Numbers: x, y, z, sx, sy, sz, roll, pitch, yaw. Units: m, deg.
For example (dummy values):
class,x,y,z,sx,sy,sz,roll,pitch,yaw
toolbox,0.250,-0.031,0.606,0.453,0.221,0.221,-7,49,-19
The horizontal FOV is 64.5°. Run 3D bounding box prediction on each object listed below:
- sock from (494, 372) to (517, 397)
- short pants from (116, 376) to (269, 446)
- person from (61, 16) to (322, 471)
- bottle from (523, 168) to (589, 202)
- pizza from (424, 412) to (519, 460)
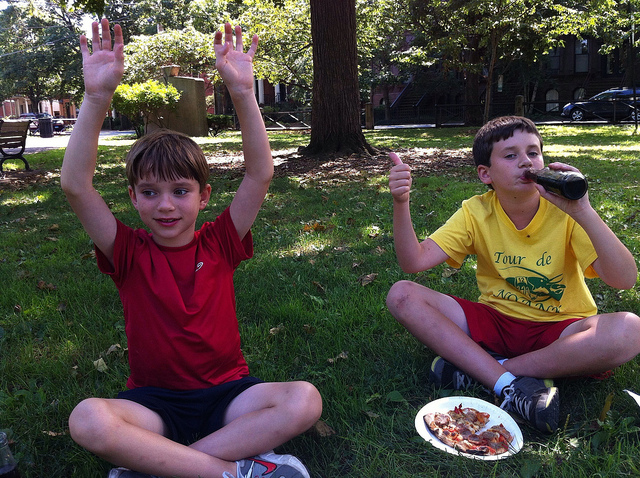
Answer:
class,x,y,z,sx,sy,sz,roll,pitch,yaw
sock,0.878,0.702,2.448,0.072,0.099,0.103,8,58,11
short pants,-0.559,0.614,2.246,0.447,0.228,0.249,-2,-3,-16
person,-0.574,0.033,2.179,1.008,1.888,0.678,-1,13,-4
bottle,1.109,-0.266,2.426,0.192,0.139,0.343,0,14,-1
pizza,0.675,0.881,2.314,0.402,0.081,0.204,5,15,17
